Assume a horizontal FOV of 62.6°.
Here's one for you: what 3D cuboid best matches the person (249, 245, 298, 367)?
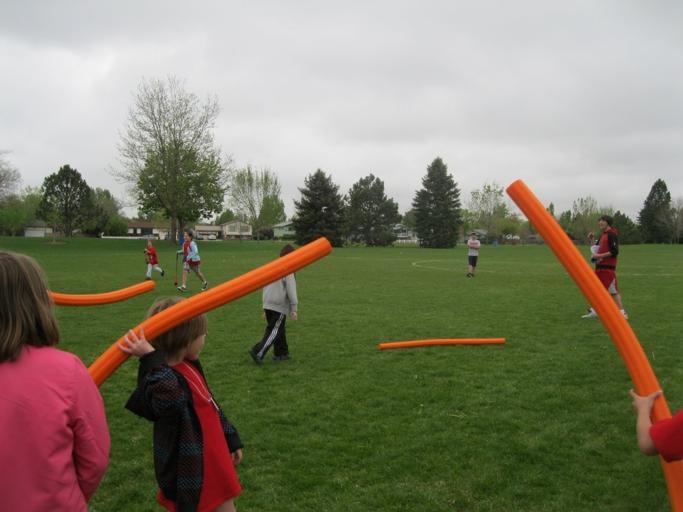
[{"bbox_3d":[-1.058,0.969,8.690,0.718,1.317,0.604,-2,5,-12],"label":"person"}]

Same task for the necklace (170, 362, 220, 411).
[{"bbox_3d":[-1.008,0.885,3.889,0.074,0.333,0.255,-30,9,4],"label":"necklace"}]
